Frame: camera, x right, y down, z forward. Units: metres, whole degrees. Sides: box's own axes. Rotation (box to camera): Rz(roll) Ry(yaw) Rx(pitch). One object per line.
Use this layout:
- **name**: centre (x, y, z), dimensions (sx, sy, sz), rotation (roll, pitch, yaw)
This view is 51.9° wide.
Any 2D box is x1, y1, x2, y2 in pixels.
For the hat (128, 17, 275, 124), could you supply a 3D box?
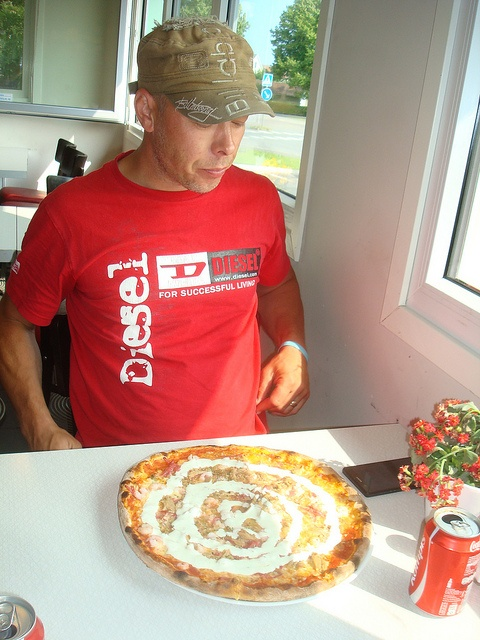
- **hat**: centre (-0.070, -0.478, 0.932), dimensions (0.244, 0.222, 0.212), rotation (0, 14, -12)

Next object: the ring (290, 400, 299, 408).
- **ring**: centre (0.132, 0.202, 1.206), dimensions (0.016, 0.016, 0.015), rotation (7, 45, -7)

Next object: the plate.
- **plate**: centre (0.007, 0.260, 0.690), dimensions (0.344, 0.033, 0.337), rotation (1, 14, -8)
